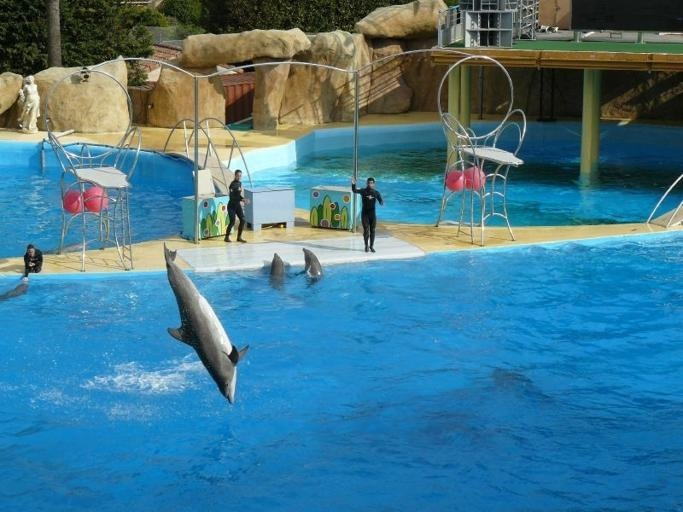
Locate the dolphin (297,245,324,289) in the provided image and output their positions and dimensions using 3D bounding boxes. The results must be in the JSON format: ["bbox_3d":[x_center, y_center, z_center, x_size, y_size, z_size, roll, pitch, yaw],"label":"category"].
[{"bbox_3d":[-0.564,0.241,13.492,0.466,0.777,0.327,-20,-22,5],"label":"dolphin"}]

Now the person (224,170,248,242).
[{"bbox_3d":[-2.189,-1.048,14.861,0.583,1.490,0.524,1,20,-15],"label":"person"}]

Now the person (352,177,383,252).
[{"bbox_3d":[0.570,-0.806,14.283,0.928,1.453,0.524,-1,4,-44],"label":"person"}]

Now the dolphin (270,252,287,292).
[{"bbox_3d":[-1.154,0.292,13.176,0.394,0.562,0.170,1,12,5],"label":"dolphin"}]

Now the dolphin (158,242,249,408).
[{"bbox_3d":[-1.639,0.805,8.328,1.086,1.737,1.076,-7,22,-31],"label":"dolphin"}]
